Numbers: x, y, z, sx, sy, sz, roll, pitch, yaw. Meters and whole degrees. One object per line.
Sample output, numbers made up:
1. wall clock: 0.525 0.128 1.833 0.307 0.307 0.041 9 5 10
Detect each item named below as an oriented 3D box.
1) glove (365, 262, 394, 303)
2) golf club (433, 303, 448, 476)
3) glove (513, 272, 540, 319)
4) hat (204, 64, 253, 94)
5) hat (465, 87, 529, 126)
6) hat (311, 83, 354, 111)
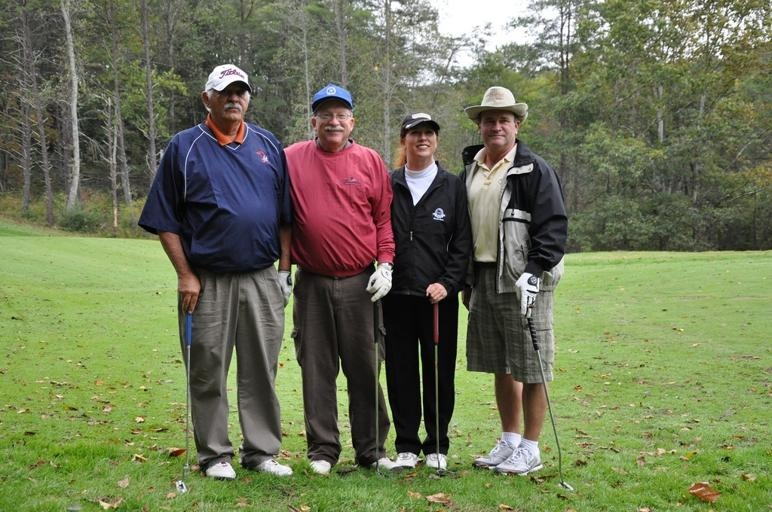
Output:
1. glove: -0.100 0.406 11.083 0.262 0.545 0.437 39 -48 -11
2. golf club: 0.809 1.994 11.263 0.280 2.275 0.314 2 1 4
3. glove: 2.106 0.593 11.028 0.342 0.640 0.153 2 1 9
4. hat: -2.329 -2.610 10.888 0.570 0.321 0.405 2 1 -31
5. hat: 1.766 -2.308 11.602 0.662 0.695 1.281 -1 -6 9
6. hat: -0.818 -2.457 11.475 0.569 0.376 0.808 2 1 -1
